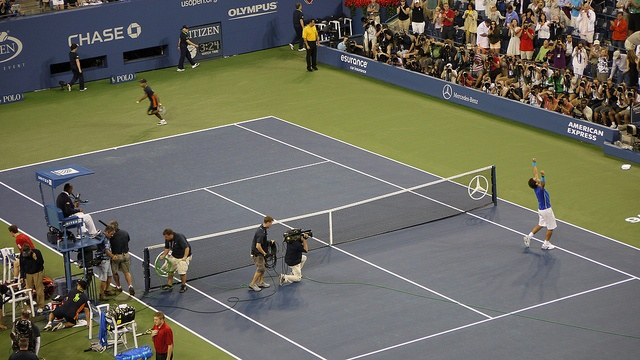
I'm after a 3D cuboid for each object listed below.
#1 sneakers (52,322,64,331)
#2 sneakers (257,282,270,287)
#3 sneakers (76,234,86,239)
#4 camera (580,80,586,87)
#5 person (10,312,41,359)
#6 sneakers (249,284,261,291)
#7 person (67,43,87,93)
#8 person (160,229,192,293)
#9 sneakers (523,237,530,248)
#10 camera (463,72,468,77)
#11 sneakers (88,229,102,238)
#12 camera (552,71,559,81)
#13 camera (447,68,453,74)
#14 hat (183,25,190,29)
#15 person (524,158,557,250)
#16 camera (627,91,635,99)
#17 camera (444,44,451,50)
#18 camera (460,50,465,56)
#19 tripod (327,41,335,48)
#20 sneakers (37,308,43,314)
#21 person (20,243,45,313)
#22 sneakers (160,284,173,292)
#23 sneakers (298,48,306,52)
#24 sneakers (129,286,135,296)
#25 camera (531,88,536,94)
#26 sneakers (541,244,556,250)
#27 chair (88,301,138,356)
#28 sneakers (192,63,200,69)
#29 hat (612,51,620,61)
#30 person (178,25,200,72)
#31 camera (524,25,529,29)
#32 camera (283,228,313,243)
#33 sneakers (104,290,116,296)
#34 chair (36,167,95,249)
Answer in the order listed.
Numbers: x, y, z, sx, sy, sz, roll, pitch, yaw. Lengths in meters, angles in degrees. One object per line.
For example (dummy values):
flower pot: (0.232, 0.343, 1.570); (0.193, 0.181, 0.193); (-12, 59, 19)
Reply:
sneakers: (-9.740, 5.498, 29.717); (0.507, 0.182, 0.220); (-41, -13, 2)
sneakers: (-2.226, 4.152, 31.261); (0.472, 0.197, 0.157); (0, 7, -11)
sneakers: (-9.027, 2.182, 30.103); (0.437, 0.180, 0.141); (-5, 12, 1)
camera: (12.915, -4.695, 39.292); (0.221, 0.305, 0.297); (-14, 24, -28)
person: (-10.332, 5.586, 27.893); (0.903, 1.810, 1.161); (-10, 22, -19)
sneakers: (-2.551, 4.244, 31.041); (0.484, 0.201, 0.178); (23, 32, 2)
person: (-13.840, -6.268, 44.739); (1.033, 2.630, 1.141); (-9, 22, -16)
person: (-5.602, 3.153, 30.835); (1.097, 2.594, 0.493); (-3, 21, -1)
sneakers: (8.458, 2.566, 32.643); (0.244, 0.503, 0.172); (-1, -8, -5)
camera: (7.715, -5.517, 42.305); (0.214, 0.211, 0.224); (-2, -3, 18)
sneakers: (-8.480, 2.119, 30.291); (0.587, 0.239, 0.212); (-19, 31, -38)
camera: (11.839, -5.207, 40.101); (0.265, 0.354, 0.373); (7, 26, 17)
camera: (6.988, -5.769, 42.916); (0.233, 0.248, 0.074); (0, 21, 6)
hat: (-7.885, -8.896, 46.596); (0.368, 0.194, 0.492); (0, 6, -12)
person: (9.031, 1.067, 32.522); (1.189, 3.522, 1.318); (3, 22, 13)
camera: (14.862, -4.012, 38.180); (0.225, 0.238, 0.256); (18, 15, 19)
camera: (6.828, -7.115, 43.087); (0.243, 0.323, 0.097); (3, 1, 32)
camera: (7.563, -6.702, 42.476); (0.229, 0.301, 0.145); (-5, 21, -8)
tripod: (0.624, -8.011, 47.458); (0.530, 0.350, 0.408); (6, 23, 21)
sneakers: (-10.617, 4.989, 30.202); (0.170, 0.185, 0.063); (4, -5, -8)
person: (-10.936, 3.716, 30.144); (0.862, 2.629, 0.694); (4, 22, 16)
sneakers: (-6.027, 4.290, 31.198); (0.432, 0.188, 0.162); (3, 4, -3)
sneakers: (-1.156, -7.945, 49.152); (0.483, 0.202, 0.176); (-3, 13, -3)
sneakers: (-7.336, 4.352, 31.051); (0.170, 0.397, 0.268); (-3, 10, -4)
camera: (10.760, -4.434, 40.271); (0.315, 0.287, 0.075); (2, -4, 33)
sneakers: (9.306, 2.807, 32.559); (0.535, 0.237, 0.194); (-3, 24, -2)
chair: (-7.605, 5.546, 29.046); (0.677, 1.146, 1.697); (-4, 8, -31)
sneakers: (-7.426, -6.751, 47.484); (0.155, 0.178, 0.430); (17, 47, 42)
hat: (14.698, -6.118, 39.552); (0.491, 0.378, 0.415); (14, -2, 32)
person: (-7.874, -7.692, 46.851); (0.951, 2.650, 1.322); (7, 23, 24)
camera: (10.881, -8.025, 42.128); (0.302, 0.183, 0.196); (-11, 23, -22)
camera: (-0.921, 2.181, 30.981); (0.904, 0.412, 0.548); (-3, 2, -26)
sneakers: (-8.148, 4.428, 30.946); (0.384, 0.229, 0.136); (0, 11, -13)
chair: (-9.637, 1.156, 30.272); (1.701, 2.832, 2.058); (-10, 22, -20)
